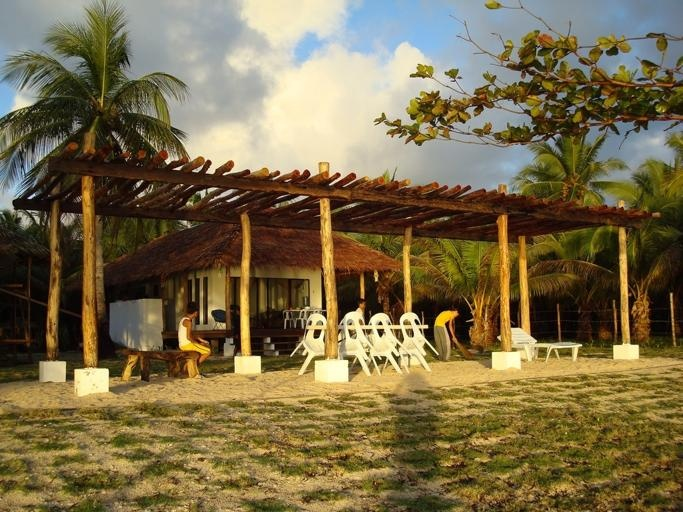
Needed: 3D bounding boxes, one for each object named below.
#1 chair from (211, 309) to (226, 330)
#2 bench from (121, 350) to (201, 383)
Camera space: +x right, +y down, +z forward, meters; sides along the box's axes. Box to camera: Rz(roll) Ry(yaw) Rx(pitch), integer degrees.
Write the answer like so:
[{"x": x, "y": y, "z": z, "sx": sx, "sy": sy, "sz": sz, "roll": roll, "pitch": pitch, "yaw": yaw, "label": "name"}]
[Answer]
[{"x": -3.850, "y": 1.982, "z": 19.457, "sx": 0.558, "sy": 0.639, "sz": 0.612, "roll": 0, "pitch": -2, "yaw": 37, "label": "chair"}, {"x": -3.604, "y": 2.154, "z": 12.342, "sx": 1.410, "sy": 0.589, "sz": 2.331, "roll": 2, "pitch": -11, "yaw": -20, "label": "bench"}]
